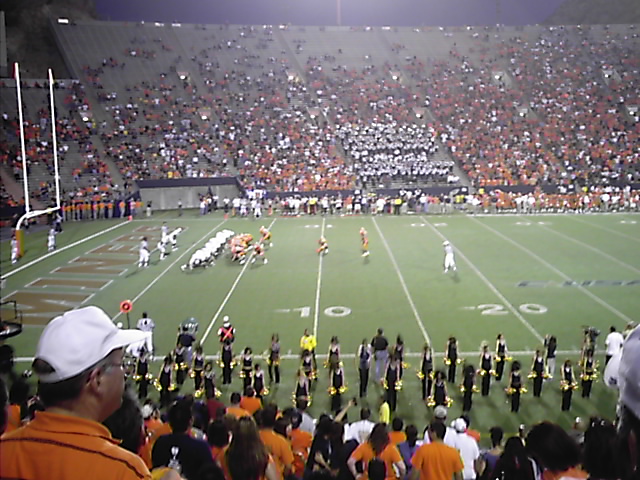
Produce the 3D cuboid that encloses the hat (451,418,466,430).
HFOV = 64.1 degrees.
[{"bbox_3d":[2.678,3.552,9.816,0.255,0.232,0.342,-3,-8,16],"label":"hat"}]

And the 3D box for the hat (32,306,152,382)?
[{"bbox_3d":[-2.536,1.103,5.611,0.929,0.549,0.665,-12,20,-38],"label":"hat"}]

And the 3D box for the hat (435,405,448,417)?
[{"bbox_3d":[2.206,3.173,9.415,0.218,0.222,0.387,-2,-8,9],"label":"hat"}]
